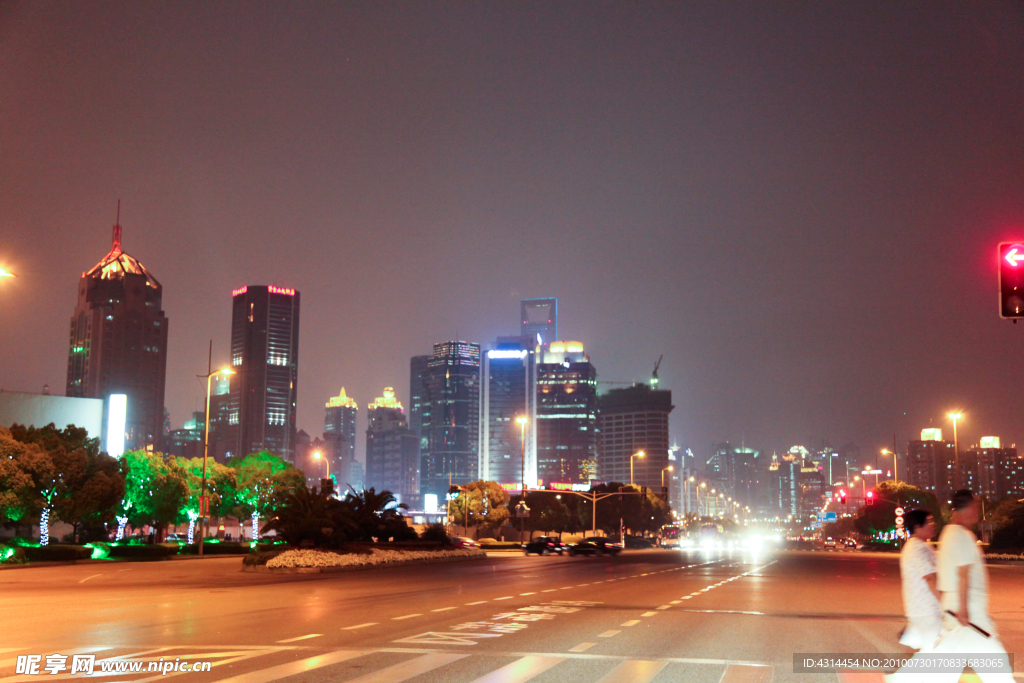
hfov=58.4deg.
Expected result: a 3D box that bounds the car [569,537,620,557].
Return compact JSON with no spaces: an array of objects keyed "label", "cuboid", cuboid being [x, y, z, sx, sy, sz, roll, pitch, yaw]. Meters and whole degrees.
[{"label":"car","cuboid":[6.349,16.163,71.846,3.589,1.222,1.700,1,-8,15]}]

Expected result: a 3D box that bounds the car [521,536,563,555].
[{"label":"car","cuboid":[2.730,17.174,76.972,2.405,1.214,1.432,3,-9,13]}]

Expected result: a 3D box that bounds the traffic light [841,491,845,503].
[{"label":"traffic light","cuboid":[35.330,16.551,97.790,0.609,1.020,1.755,-4,-14,18]}]
